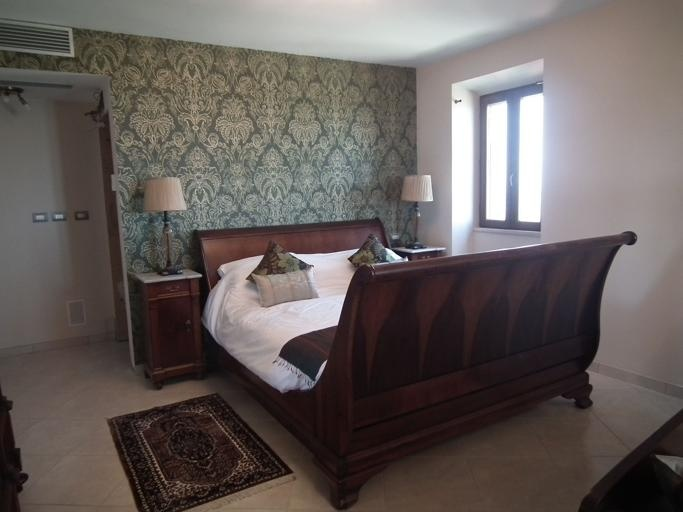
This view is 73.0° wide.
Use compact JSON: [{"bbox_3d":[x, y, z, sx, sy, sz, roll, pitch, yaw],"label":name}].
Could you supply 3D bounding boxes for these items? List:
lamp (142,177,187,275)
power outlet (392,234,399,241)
[{"bbox_3d":[-1.605,-0.284,4.175,0.337,0.847,0.366,-9,14,-29],"label":"lamp"},{"bbox_3d":[0.636,-0.231,5.513,0.069,0.020,0.070,-3,23,-17],"label":"power outlet"}]
